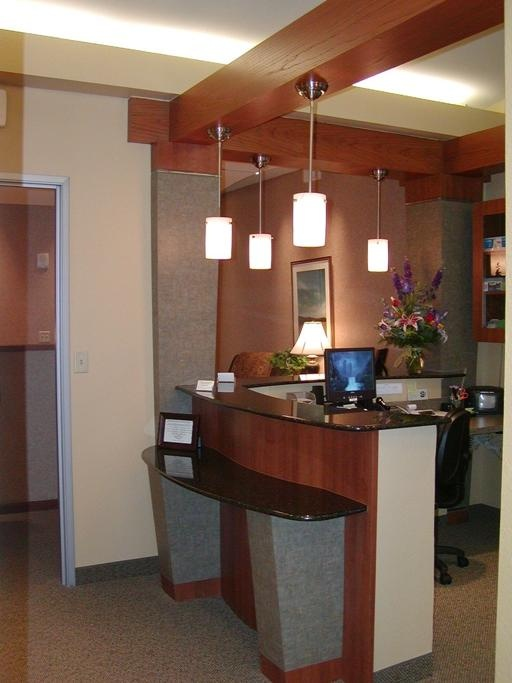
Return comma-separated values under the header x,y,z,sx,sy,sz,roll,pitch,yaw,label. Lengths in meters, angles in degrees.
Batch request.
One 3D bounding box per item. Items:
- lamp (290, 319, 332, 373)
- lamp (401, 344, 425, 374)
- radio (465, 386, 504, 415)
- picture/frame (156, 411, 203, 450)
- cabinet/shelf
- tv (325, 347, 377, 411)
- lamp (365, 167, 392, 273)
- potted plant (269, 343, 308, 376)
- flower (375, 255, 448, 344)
x,y,z,sx,sy,sz,roll,pitch,yaw,label
0.535,0.035,5.939,0.512,0.636,0.494,-1,0,-5,lamp
1.154,0.141,4.374,0.155,0.214,0.352,0,0,13,lamp
1.665,0.414,4.254,0.229,0.148,0.219,1,5,20,radio
-0.444,0.517,3.378,0.216,0.176,0.014,4,-10,10,picture/frame
1.749,-0.526,4.363,0.129,1.046,0.360,0,0,-10,cabinet/shelf
0.544,0.226,3.435,0.379,0.350,0.130,1,-4,-30,tv
0.956,-0.945,4.590,0.158,0.781,0.164,10,17,41,lamp
0.296,0.157,4.969,0.252,0.172,0.255,1,-3,39,potted plant
1.164,-0.235,4.299,0.468,0.590,0.451,1,-8,25,flower
